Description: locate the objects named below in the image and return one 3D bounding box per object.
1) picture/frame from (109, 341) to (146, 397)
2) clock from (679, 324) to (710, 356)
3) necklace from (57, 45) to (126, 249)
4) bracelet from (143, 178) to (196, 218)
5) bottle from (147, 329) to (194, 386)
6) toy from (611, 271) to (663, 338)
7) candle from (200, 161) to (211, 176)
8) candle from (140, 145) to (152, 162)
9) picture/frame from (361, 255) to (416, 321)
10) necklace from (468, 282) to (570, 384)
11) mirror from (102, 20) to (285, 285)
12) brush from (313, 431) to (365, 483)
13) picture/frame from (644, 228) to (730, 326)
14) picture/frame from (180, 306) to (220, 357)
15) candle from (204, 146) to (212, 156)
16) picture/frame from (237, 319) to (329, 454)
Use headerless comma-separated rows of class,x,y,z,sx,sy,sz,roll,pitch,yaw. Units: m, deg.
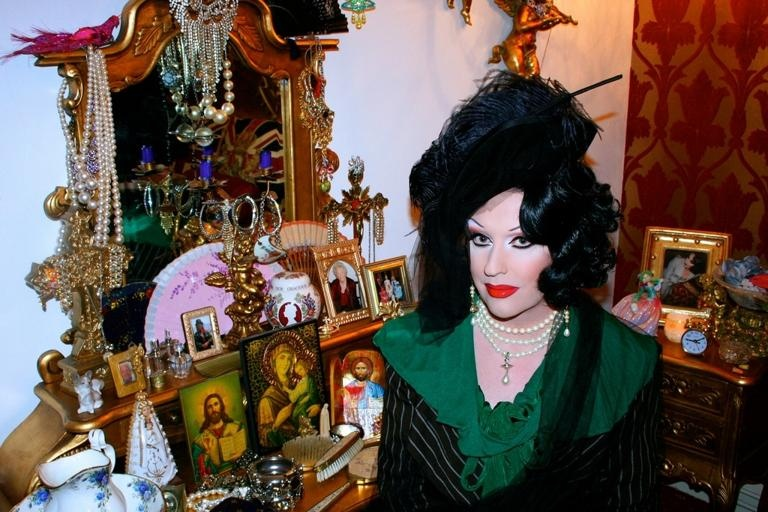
picture/frame,-0.921,0.413,2.559,0.148,0.179,0.014,-16,1,-38
clock,1.466,0.402,3.386,0.102,0.109,0.038,-21,-19,35
necklace,-1.031,-0.374,2.506,0.171,0.691,0.078,-5,6,-24
bracelet,-0.808,-0.220,2.656,0.127,0.116,0.037,-12,19,-42
bottle,-0.808,0.385,2.645,0.168,0.136,0.189,-17,24,-34
toy,1.240,0.215,3.392,0.217,0.289,0.166,3,21,22
candle,-0.677,-0.331,2.705,0.047,0.070,0.048,0,2,-5
candle,-0.864,-0.370,2.599,0.048,0.063,0.010,-5,6,-21
picture/frame,0.015,0.147,3.056,0.228,0.240,0.031,-12,-3,-35
necklace,0.478,0.301,2.607,0.259,0.133,0.326,5,48,18
mirror,-0.738,-0.396,2.661,0.824,1.039,0.068,-14,17,-40
brush,-0.171,0.768,2.734,0.115,0.046,0.188,-26,10,47
picture/frame,1.484,0.116,3.482,0.406,0.539,0.055,5,0,27
picture/frame,-0.706,0.292,2.707,0.147,0.194,0.018,-14,7,-37
candle,-0.668,-0.397,2.715,0.032,0.033,0.036,3,-13,9
picture/frame,-0.406,0.512,2.765,0.448,0.617,0.061,-7,5,-40
